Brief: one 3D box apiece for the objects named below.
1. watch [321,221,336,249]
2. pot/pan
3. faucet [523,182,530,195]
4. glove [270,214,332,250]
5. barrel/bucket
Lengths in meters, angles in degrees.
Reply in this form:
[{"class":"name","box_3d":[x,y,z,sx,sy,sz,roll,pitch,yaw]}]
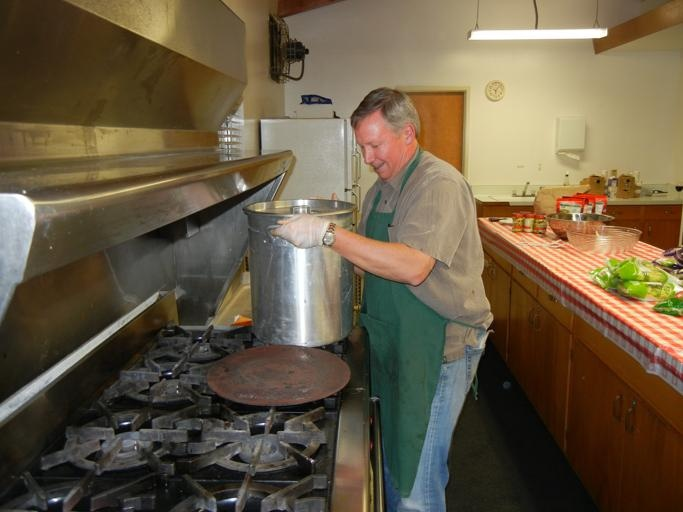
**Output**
[{"class":"watch","box_3d":[-0.034,-0.054,1.333,0.036,0.061,0.056,10,20,2]},{"class":"pot/pan","box_3d":[-0.121,0.023,1.583,0.389,0.430,0.376,-1,17,-1]},{"class":"faucet","box_3d":[2.249,-0.812,5.992,0.080,0.157,0.280,3,15,21]},{"class":"glove","box_3d":[-0.099,-0.066,1.300,0.093,0.044,0.109,-10,14,-35]},{"class":"barrel/bucket","box_3d":[-0.115,0.022,1.582,0.389,0.428,0.376,0,17,0]}]
